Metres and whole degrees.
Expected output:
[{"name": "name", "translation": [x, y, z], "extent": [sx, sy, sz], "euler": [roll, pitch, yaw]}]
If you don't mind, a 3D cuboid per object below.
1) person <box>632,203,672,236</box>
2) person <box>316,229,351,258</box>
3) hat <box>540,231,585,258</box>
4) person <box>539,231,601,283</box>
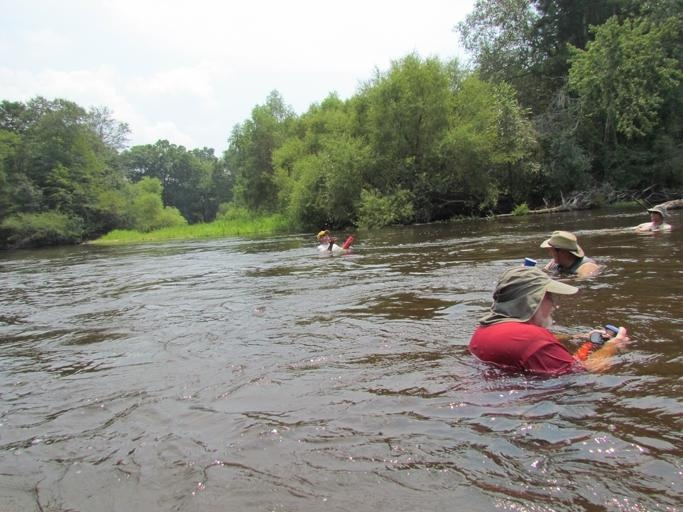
[{"name": "person", "translation": [10.065, -1.132, 17.127], "extent": [1.517, 0.916, 1.126], "euler": [-3, 5, -18]}, {"name": "person", "translation": [-0.308, -0.407, 19.814], "extent": [1.342, 0.529, 1.334], "euler": [-15, 4, -9]}, {"name": "hat", "translation": [4.699, -0.240, 11.487], "extent": [1.008, 0.378, 0.785], "euler": [14, 19, 21]}, {"name": "person", "translation": [4.013, -0.074, 10.220], "extent": [1.031, 0.550, 1.303], "euler": [-25, 34, -35]}]
